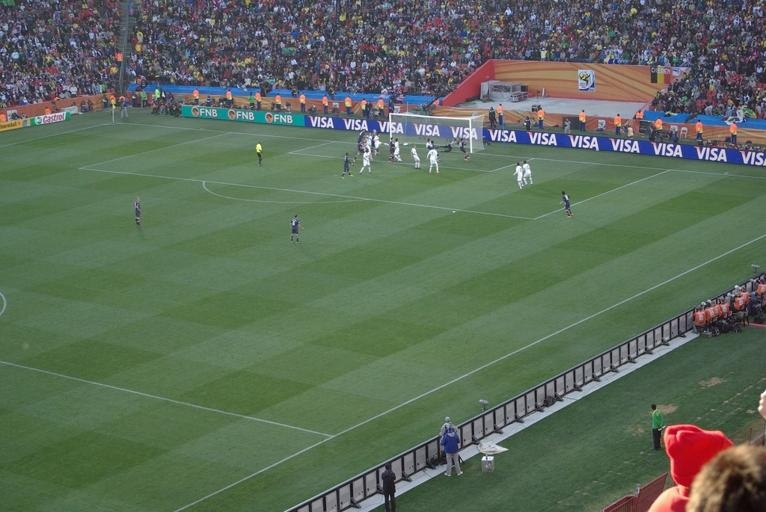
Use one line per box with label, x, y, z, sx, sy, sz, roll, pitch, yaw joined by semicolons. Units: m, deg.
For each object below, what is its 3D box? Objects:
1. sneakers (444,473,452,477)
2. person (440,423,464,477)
sneakers;3.187;10.546;64.958;0.282;0.097;0.131;3;10;38
person;3.363;9.275;64.731;1.023;2.667;0.843;-2;24;3
